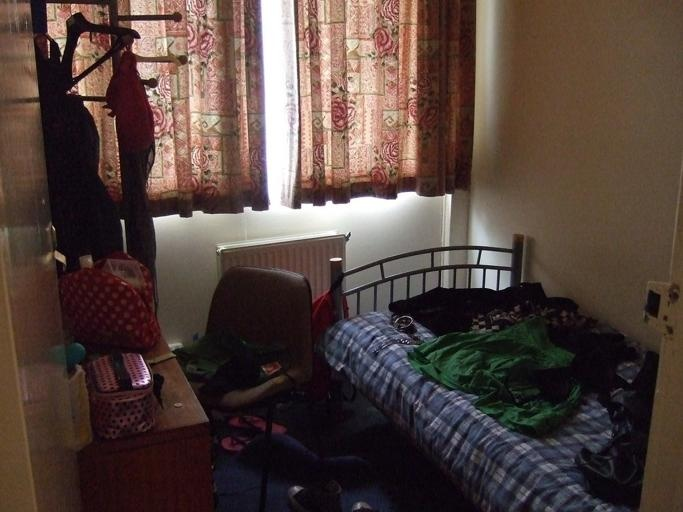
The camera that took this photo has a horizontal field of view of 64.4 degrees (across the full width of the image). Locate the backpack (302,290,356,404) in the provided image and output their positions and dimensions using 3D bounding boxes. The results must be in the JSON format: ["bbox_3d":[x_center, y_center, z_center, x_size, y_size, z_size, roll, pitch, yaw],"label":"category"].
[{"bbox_3d":[-0.078,0.461,2.742,0.369,0.422,0.096,-3,-9,39],"label":"backpack"}]

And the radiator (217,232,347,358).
[{"bbox_3d":[-0.312,0.193,2.616,0.547,0.541,0.103,-9,26,-25],"label":"radiator"}]

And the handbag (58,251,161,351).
[{"bbox_3d":[-0.785,0.144,1.954,0.342,0.383,0.239,7,12,4],"label":"handbag"}]
